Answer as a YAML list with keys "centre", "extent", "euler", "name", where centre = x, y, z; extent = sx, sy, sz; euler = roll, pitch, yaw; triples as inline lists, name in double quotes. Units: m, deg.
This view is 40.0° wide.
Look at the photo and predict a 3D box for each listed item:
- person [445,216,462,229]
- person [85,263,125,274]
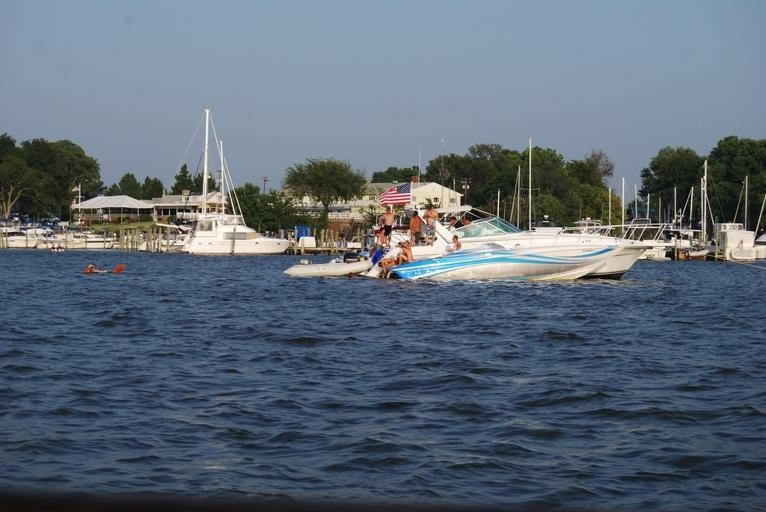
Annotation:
- centre: [2.798, -1.293, 40.505]
  extent: [0.704, 0.244, 0.783]
  euler: [-1, 5, 8]
  name: "person"
- centre: [-11.569, 0.599, 43.809]
  extent: [1.440, 0.372, 0.891]
  euler: [0, -2, 1]
  name: "person"
